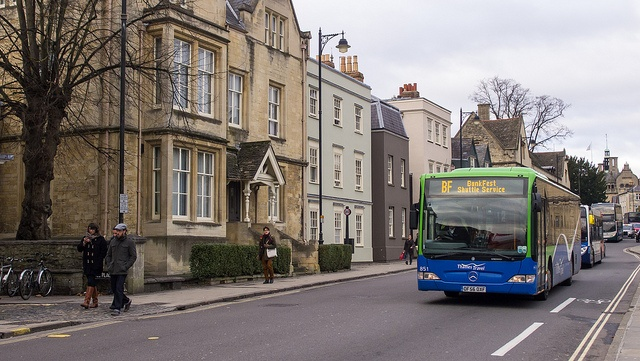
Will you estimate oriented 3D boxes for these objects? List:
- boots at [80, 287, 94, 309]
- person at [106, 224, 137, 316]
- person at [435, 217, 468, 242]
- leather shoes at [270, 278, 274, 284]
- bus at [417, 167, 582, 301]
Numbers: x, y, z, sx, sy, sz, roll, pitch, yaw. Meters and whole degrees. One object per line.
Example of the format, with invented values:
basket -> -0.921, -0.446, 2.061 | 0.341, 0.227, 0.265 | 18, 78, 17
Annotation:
boots -> -8.700, 4.449, 25.842 | 0.447, 0.829, 0.408 | -1, 2, -23
person -> -7.323, 3.295, 25.374 | 0.998, 3.250, 1.065 | 0, 2, -20
person -> 5.009, 1.894, 26.081 | 0.991, 0.941, 0.238 | 3, 0, 16
leather shoes -> -2.305, 4.940, 33.128 | 0.160, 0.184, 0.169 | -1, 0, 0
bus -> 7.861, 2.185, 27.796 | 8.217, 5.419, 3.467 | -1, 2, -41
